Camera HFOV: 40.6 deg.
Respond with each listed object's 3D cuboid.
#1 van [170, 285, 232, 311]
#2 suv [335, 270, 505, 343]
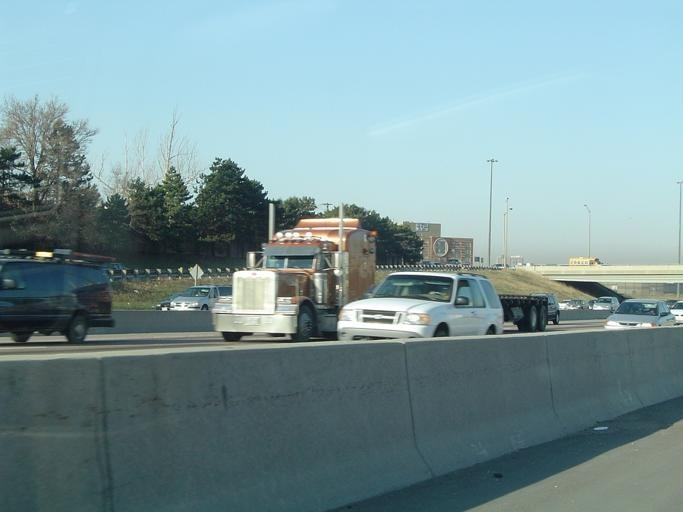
[{"bbox_3d":[-6.057,1.755,38.915,2.034,1.092,3.420,-3,-6,27],"label":"van"},{"bbox_3d":[1.870,0.979,18.007,1.474,1.022,2.572,-5,-9,39],"label":"suv"}]
